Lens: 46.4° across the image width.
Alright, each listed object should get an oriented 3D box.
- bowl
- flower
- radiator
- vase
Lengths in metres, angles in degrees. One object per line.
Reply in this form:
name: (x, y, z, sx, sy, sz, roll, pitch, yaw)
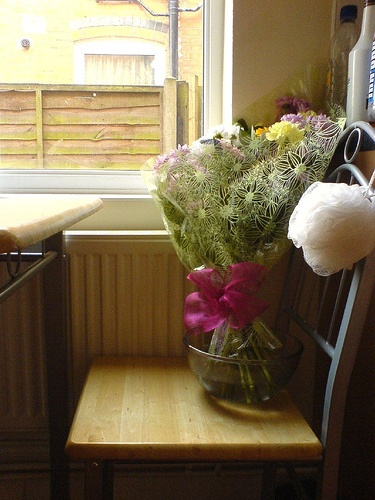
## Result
bowl: (0.120, 0.206, 0.777, 0.149, 0.072, 0.146, 1, 5, 0)
flower: (0.086, -0.063, 1.035, 0.457, 0.664, 0.580, -1, 11, 2)
radiator: (-0.173, 0.162, 0.962, 0.517, 0.558, 0.040, 1, 7, -2)
vase: (0.114, 0.204, 0.770, 0.150, 0.069, 0.145, -2, 7, -27)
